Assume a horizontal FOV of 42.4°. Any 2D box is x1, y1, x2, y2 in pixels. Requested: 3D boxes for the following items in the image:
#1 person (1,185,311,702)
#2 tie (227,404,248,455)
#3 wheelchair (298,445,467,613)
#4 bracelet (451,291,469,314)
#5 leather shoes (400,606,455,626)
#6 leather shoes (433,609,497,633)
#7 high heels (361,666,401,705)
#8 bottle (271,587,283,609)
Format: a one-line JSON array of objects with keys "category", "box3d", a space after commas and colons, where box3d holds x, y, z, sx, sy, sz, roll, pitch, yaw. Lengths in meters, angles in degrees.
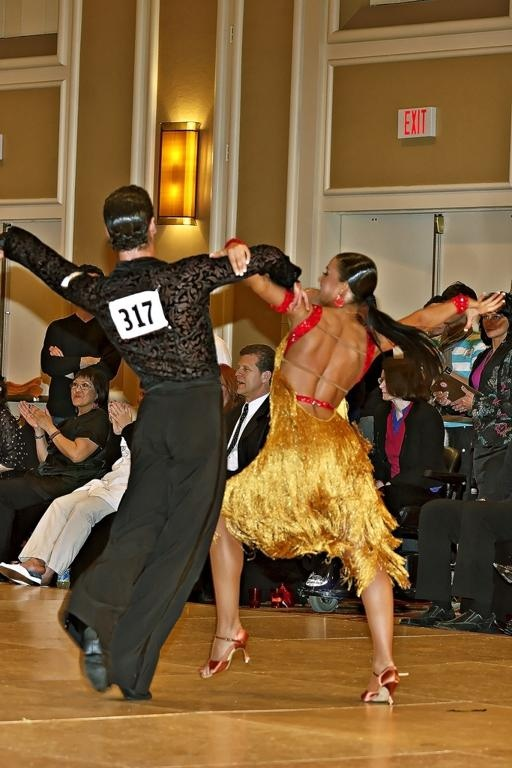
[{"category": "person", "box3d": [-0.334, 0.132, 1.756, 0.581, 1.343, 0.290, 1, 1, -2]}, {"category": "tie", "box3d": [-0.086, 0.205, 3.042, 0.040, 0.025, 0.275, 16, 34, 6]}, {"category": "wheelchair", "box3d": [0.836, 0.935, 4.390, 1.051, 1.181, 0.893, 14, -17, -25]}, {"category": "bracelet", "box3d": [0.696, -0.277, 2.251, 0.060, 0.068, 0.022, -17, 19, -27]}, {"category": "leather shoes", "box3d": [0.923, 1.230, 3.495, 0.305, 0.107, 0.110, 1, -7, -18]}, {"category": "leather shoes", "box3d": [1.041, 1.203, 3.358, 0.328, 0.118, 0.110, 3, -9, 3]}, {"category": "high heels", "box3d": [0.347, 0.812, 1.795, 0.051, 0.073, 0.145, 3, -4, -12]}, {"category": "bottle", "box3d": [0.132, 1.305, 4.069, 0.077, 0.115, 0.082, 0, -22, 0]}]
